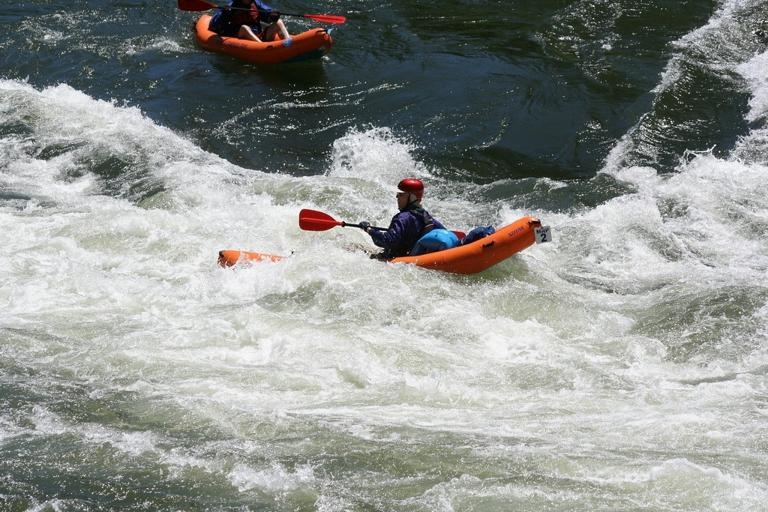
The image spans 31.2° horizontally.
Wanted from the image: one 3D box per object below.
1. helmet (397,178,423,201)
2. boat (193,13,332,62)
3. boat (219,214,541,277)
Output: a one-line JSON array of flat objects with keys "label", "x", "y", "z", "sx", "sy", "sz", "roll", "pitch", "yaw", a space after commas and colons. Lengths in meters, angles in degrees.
[{"label": "helmet", "x": 0.418, "y": -1.037, "z": 20.730, "sx": 0.461, "sy": 0.274, "sz": 0.282, "roll": -4, "pitch": 22, "yaw": 0}, {"label": "boat", "x": -2.317, "y": -4.153, "z": 25.912, "sx": 2.288, "sy": 0.398, "sz": 0.968, "roll": 10, "pitch": 21, "yaw": 28}, {"label": "boat", "x": -0.019, "y": -0.332, "z": 20.742, "sx": 4.893, "sy": 0.810, "sz": 1.468, "roll": 0, "pitch": 24, "yaw": -1}]
